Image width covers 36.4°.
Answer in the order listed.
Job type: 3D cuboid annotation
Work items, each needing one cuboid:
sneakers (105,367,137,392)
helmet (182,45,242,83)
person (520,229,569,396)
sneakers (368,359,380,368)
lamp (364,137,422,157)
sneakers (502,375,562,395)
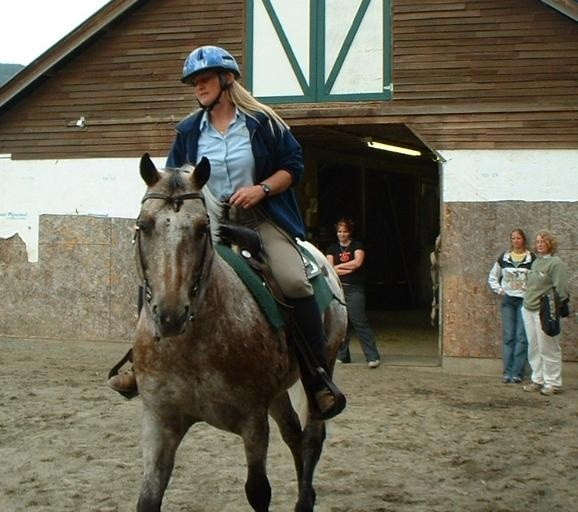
[{"bbox_3d":[-1.492,1.024,7.236,0.309,0.134,0.132,0,27,-10],"label":"sneakers"},{"bbox_3d":[-0.732,-1.571,7.181,0.501,0.313,0.311,-1,9,-19],"label":"helmet"},{"bbox_3d":[3.481,0.750,11.640,0.459,2.142,0.659,0,9,-10],"label":"person"},{"bbox_3d":[1.230,1.611,13.223,0.188,0.151,0.286,2,9,5],"label":"sneakers"},{"bbox_3d":[2.048,-2.139,17.257,1.080,0.337,2.781,3,9,8],"label":"lamp"},{"bbox_3d":[3.301,1.724,11.759,0.678,0.265,0.218,13,-20,5],"label":"sneakers"}]
